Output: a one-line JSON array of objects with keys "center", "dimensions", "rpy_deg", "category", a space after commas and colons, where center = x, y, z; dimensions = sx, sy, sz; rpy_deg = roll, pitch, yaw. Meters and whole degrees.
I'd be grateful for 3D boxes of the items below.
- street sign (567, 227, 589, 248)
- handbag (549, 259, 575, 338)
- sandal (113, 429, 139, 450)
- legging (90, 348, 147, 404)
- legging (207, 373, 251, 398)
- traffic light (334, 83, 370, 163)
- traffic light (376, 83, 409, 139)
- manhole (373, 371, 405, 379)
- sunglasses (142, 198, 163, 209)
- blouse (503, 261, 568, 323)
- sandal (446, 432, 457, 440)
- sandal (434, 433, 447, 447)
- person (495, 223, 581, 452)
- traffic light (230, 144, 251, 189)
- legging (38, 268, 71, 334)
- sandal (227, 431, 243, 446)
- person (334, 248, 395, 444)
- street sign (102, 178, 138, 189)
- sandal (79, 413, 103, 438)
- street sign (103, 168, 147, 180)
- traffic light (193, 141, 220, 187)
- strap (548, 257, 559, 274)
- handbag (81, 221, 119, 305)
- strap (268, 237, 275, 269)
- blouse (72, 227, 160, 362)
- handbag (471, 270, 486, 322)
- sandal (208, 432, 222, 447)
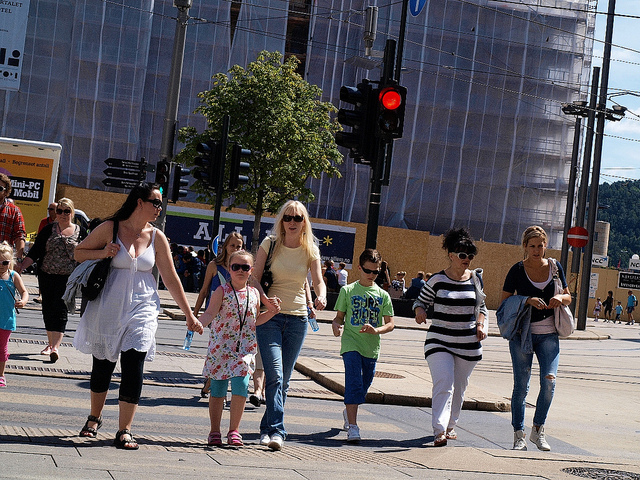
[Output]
[{"center": [8.256, -0.067, 28.423], "dimensions": [0.605, 0.637, 1.142], "rpy_deg": [5, 2, 15], "category": "street sign"}, {"center": [2.922, 0.730, 10.716], "dimensions": [0.311, 0.930, 0.346], "rpy_deg": [5, 1, -1], "category": "handbag"}, {"center": [-1.937, 2.009, 8.851], "dimensions": [0.120, 0.138, 0.347], "rpy_deg": [2, -5, -30], "category": "sandal"}, {"center": [-2.065, 1.364, 9.053], "dimensions": [0.566, 0.459, 0.233], "rpy_deg": [5, 2, 22], "category": "legging"}, {"center": [-0.969, 1.568, 9.398], "dimensions": [0.400, 0.318, 0.224], "rpy_deg": [1, -15, -2], "category": "legging"}, {"center": [0.463, -1.777, 13.240], "dimensions": [0.467, 1.079, 0.535], "rpy_deg": [4, 1, -11], "category": "traffic light"}, {"center": [1.052, -1.899, 13.125], "dimensions": [0.387, 0.765, 0.376], "rpy_deg": [5, 1, 3], "category": "traffic light"}, {"center": [1.079, 2.120, 13.790], "dimensions": [0.465, 0.043, 0.690], "rpy_deg": [5, 2, 6], "category": "manhole"}, {"center": [-1.748, -0.372, 9.223], "dimensions": [0.083, 0.088, 0.221], "rpy_deg": [6, 2, 35], "category": "sunglasses"}, {"center": [2.605, 0.661, 10.698], "dimensions": [0.678, 0.675, 0.376], "rpy_deg": [0, -6, -9], "category": "blouse"}, {"center": [1.588, 2.372, 10.657], "dimensions": [0.078, 0.077, 0.194], "rpy_deg": [6, 2, 38], "category": "sandal"}, {"center": [1.366, 2.297, 10.048], "dimensions": [0.132, 0.149, 0.248], "rpy_deg": [5, 2, 8], "category": "sandal"}, {"center": [2.557, 1.161, 10.635], "dimensions": [0.905, 2.670, 0.652], "rpy_deg": [5, 1, 12], "category": "person"}, {"center": [-1.702, -1.528, 18.755], "dimensions": [0.396, 0.805, 1.252], "rpy_deg": [5, 2, -6], "category": "traffic light"}, {"center": [-3.701, 0.844, 12.295], "dimensions": [0.484, 1.243, 0.508], "rpy_deg": [3, -2, -28], "category": "legging"}, {"center": [-0.904, 2.105, 9.339], "dimensions": [0.162, 0.127, 0.117], "rpy_deg": [5, 2, -5], "category": "sandal"}, {"center": [0.484, 1.231, 10.486], "dimensions": [0.652, 2.076, 0.728], "rpy_deg": [6, 2, 41], "category": "person"}, {"center": [-4.618, -1.292, 20.367], "dimensions": [0.713, 0.183, 0.966], "rpy_deg": [5, 2, -1], "category": "street sign"}, {"center": [-2.358, 1.917, 9.099], "dimensions": [0.259, 0.184, 0.182], "rpy_deg": [4, 2, -36], "category": "sandal"}, {"center": [-4.528, -1.508, 20.284], "dimensions": [0.828, 0.196, 0.141], "rpy_deg": [4, 2, -37], "category": "street sign"}, {"center": [-2.343, -1.566, 18.175], "dimensions": [0.457, 0.799, 0.748], "rpy_deg": [4, 2, -17], "category": "traffic light"}, {"center": [2.849, 0.329, 10.821], "dimensions": [0.055, 0.150, 0.110], "rpy_deg": [-36, -12, 29], "category": "strap"}, {"center": [-2.209, 0.290, 9.128], "dimensions": [0.391, 0.689, 0.240], "rpy_deg": [27, -2, 7], "category": "handbag"}, {"center": [-0.544, 0.179, 9.883], "dimensions": [0.036, 0.274, 0.033], "rpy_deg": [12, -16, 23], "category": "strap"}, {"center": [-2.055, 0.619, 9.006], "dimensions": [0.776, 1.090, 0.352], "rpy_deg": [4, 1, -17], "category": "blouse"}, {"center": [1.887, 0.674, 10.561], "dimensions": [0.109, 0.418, 0.260], "rpy_deg": [-11, 10, -3], "category": "handbag"}, {"center": [-1.105, 2.104, 9.284], "dimensions": [0.147, 0.122, 0.136], "rpy_deg": [5, 2, -7], "category": "sandal"}]
